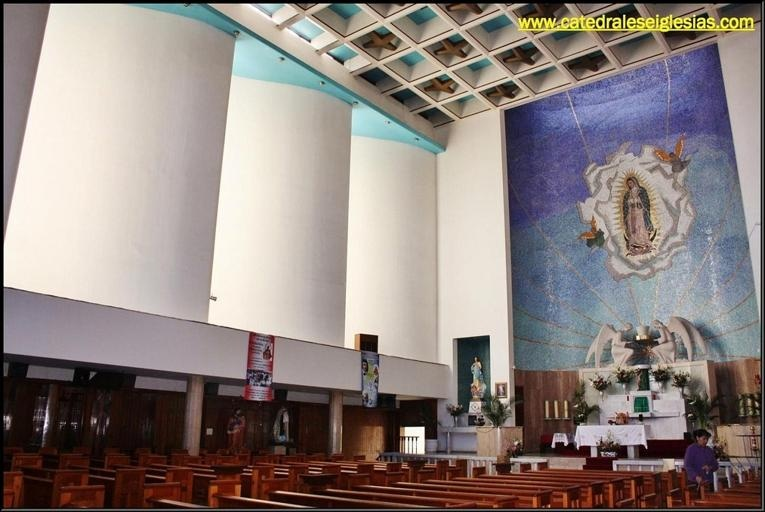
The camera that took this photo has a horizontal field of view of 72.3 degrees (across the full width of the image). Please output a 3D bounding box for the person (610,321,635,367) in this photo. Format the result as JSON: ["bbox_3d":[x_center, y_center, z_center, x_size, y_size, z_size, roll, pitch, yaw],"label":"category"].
[{"bbox_3d":[7.473,2.807,16.563,0.783,1.403,0.737,-7,-16,22],"label":"person"}]

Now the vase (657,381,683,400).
[{"bbox_3d":[8.259,3.866,15.057,0.293,0.509,0.529,9,-10,-36],"label":"vase"}]

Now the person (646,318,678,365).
[{"bbox_3d":[8.406,2.573,15.815,0.671,1.305,0.518,-8,-16,25],"label":"person"}]

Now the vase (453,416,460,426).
[{"bbox_3d":[2.506,5.639,17.925,0.251,0.313,0.146,1,-15,-7],"label":"vase"}]

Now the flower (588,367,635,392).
[{"bbox_3d":[6.994,3.757,16.041,0.980,0.517,0.826,3,-17,-23],"label":"flower"}]
